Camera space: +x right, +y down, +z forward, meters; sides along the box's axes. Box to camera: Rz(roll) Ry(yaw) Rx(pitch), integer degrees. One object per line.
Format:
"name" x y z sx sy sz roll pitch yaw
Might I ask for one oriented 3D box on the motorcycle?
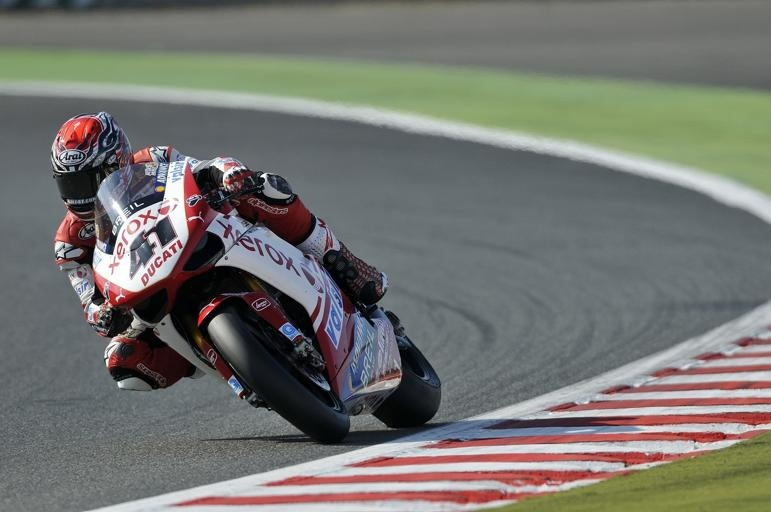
"motorcycle" -0.773 0.295 6.338 1.864 1.604 0.985 -1 18 -13
